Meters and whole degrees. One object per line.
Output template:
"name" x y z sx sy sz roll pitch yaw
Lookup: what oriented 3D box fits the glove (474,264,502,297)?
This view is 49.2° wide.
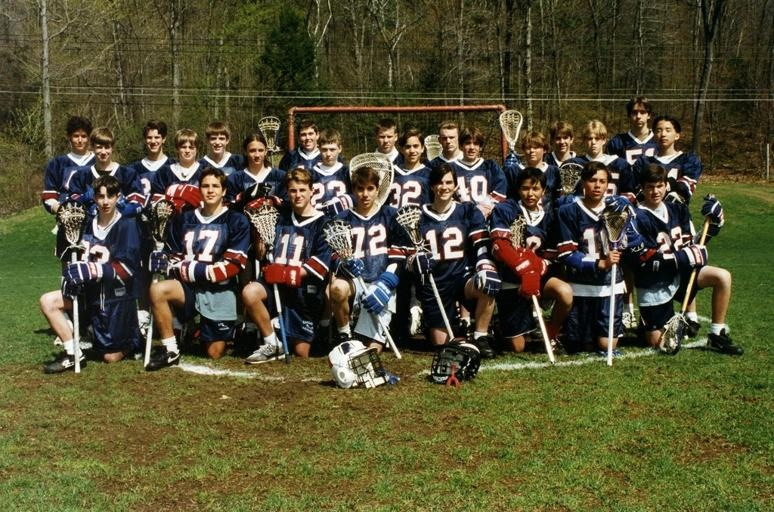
"glove" 1.346 0.319 11.302 0.327 0.397 0.229 0 7 2

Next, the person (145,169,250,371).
"person" -2.518 0.123 11.505 1.343 2.641 0.709 -2 7 -15

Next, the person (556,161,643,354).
"person" 2.911 0.237 11.565 1.049 2.927 0.905 1 21 16

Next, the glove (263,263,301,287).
"glove" -1.386 0.239 11.366 0.396 0.172 0.298 6 -1 27

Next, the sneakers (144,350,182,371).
"sneakers" -2.959 1.396 11.340 0.504 0.224 0.180 2 1 -43

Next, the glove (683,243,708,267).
"glove" 4.191 0.000 11.511 0.314 0.300 0.113 -2 7 -17

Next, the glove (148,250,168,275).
"glove" -3.064 0.075 11.418 0.251 0.326 0.311 -2 8 -16

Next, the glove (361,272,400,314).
"glove" -0.071 0.491 11.188 0.385 0.621 0.257 30 -29 -13

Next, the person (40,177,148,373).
"person" -3.922 0.198 11.396 1.202 2.572 0.673 -2 7 -16

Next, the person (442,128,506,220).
"person" 1.273 -1.234 12.637 1.028 1.464 0.819 -4 3 -3

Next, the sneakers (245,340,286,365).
"sneakers" -1.631 1.309 11.436 0.580 0.240 0.240 -3 1 -28

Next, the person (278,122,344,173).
"person" -1.165 -1.710 12.929 0.964 0.754 0.461 -3 8 0

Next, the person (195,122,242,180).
"person" -2.489 -1.551 12.535 0.844 0.869 0.473 -3 10 -14

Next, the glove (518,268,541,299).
"glove" 1.928 0.367 11.259 0.294 0.369 0.178 -2 7 -11

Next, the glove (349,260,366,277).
"glove" -0.391 0.165 11.290 0.166 0.237 0.087 -34 18 -30

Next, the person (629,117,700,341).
"person" 4.093 -0.784 12.619 1.136 2.607 0.848 3 8 27
